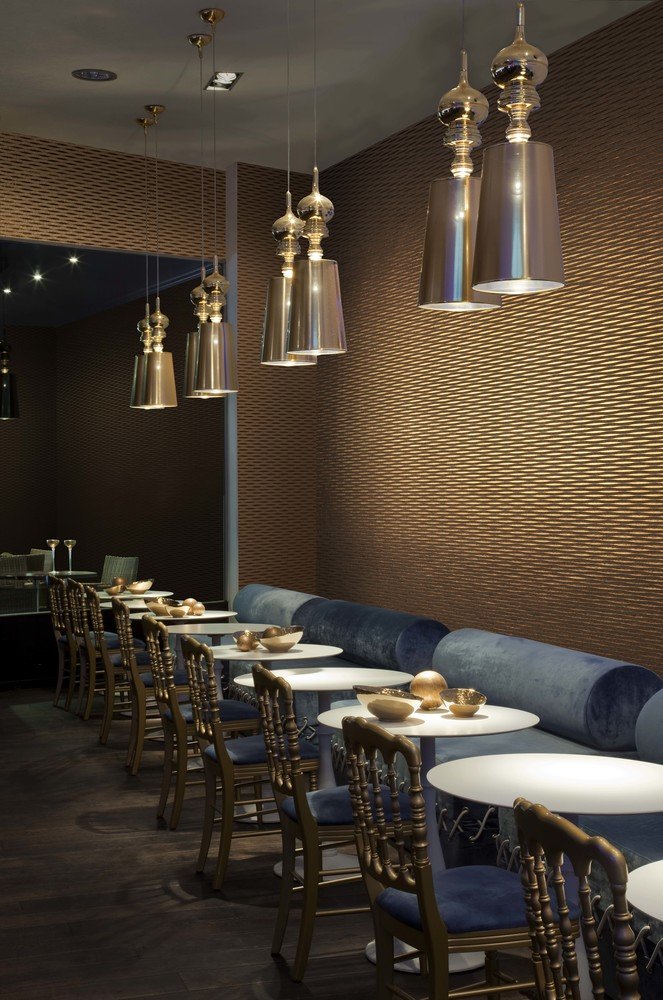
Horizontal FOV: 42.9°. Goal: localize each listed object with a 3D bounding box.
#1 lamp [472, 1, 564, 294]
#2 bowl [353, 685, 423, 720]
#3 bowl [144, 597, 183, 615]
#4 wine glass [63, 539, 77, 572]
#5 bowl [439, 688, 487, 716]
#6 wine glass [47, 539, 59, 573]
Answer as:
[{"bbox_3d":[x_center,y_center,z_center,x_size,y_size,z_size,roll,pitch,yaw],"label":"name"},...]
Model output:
[{"bbox_3d":[0.339,-0.671,1.531,0.157,0.613,0.328,0,1,11],"label":"lamp"},{"bbox_3d":[0.182,0.632,2.602,0.162,0.085,0.239,-1,1,-24],"label":"bowl"},{"bbox_3d":[-1.066,0.692,5.343,0.216,0.078,0.208,1,-2,0],"label":"bowl"},{"bbox_3d":[-2.054,0.436,6.598,0.095,0.259,0.085,-1,1,-18],"label":"wine glass"},{"bbox_3d":[0.407,0.632,2.657,0.102,0.048,0.099,-1,-4,0],"label":"bowl"},{"bbox_3d":[-2.176,0.432,6.572,0.094,0.266,0.089,-1,1,-19],"label":"wine glass"}]
